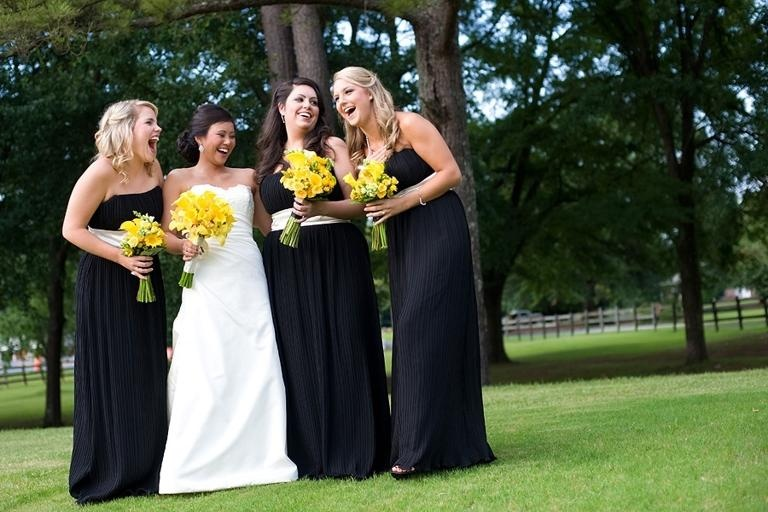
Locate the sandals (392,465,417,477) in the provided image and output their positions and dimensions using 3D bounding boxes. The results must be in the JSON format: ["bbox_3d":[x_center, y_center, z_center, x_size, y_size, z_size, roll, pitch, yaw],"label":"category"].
[{"bbox_3d":[0.253,2.623,12.512,0.306,0.110,0.122,4,-13,2],"label":"sandals"}]

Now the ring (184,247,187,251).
[{"bbox_3d":[-2.502,-0.070,12.994,0.026,0.032,0.010,0,1,22],"label":"ring"}]

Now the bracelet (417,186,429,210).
[{"bbox_3d":[0.479,-0.733,12.773,0.165,0.223,0.081,8,-3,-22],"label":"bracelet"}]
